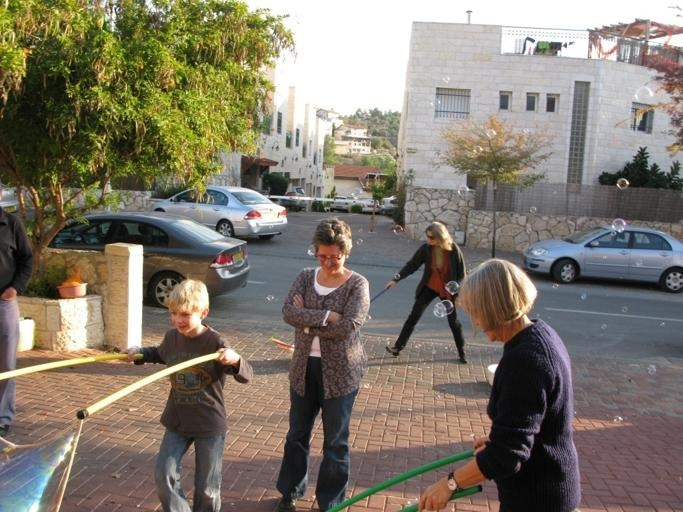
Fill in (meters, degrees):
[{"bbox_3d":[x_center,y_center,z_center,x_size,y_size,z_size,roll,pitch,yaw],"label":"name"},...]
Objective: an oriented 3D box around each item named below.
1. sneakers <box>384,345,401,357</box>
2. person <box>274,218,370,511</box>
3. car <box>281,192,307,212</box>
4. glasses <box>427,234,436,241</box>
[{"bbox_3d":[0.730,1.392,8.754,0.122,0.098,0.287,-19,5,-3],"label":"sneakers"},{"bbox_3d":[-0.170,0.881,4.691,0.664,2.325,0.590,5,6,8],"label":"person"},{"bbox_3d":[-3.368,-3.729,42.234,2.222,0.888,1.020,-2,25,-5],"label":"car"},{"bbox_3d":[1.212,-0.232,8.104,0.090,0.029,0.087,21,2,-12],"label":"glasses"}]
